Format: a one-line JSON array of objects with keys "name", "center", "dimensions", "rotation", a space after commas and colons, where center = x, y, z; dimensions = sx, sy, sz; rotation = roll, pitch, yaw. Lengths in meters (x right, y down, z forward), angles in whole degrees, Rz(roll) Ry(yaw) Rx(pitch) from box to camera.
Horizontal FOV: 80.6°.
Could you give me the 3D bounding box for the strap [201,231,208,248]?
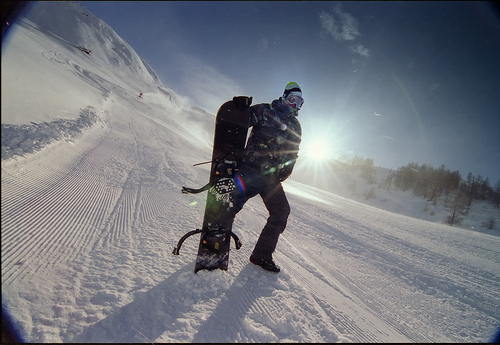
[{"name": "strap", "center": [-0.928, 1.356, 6.028], "dimensions": [0.161, 0.300, 0.031], "rotation": [10, 3, -20]}]
